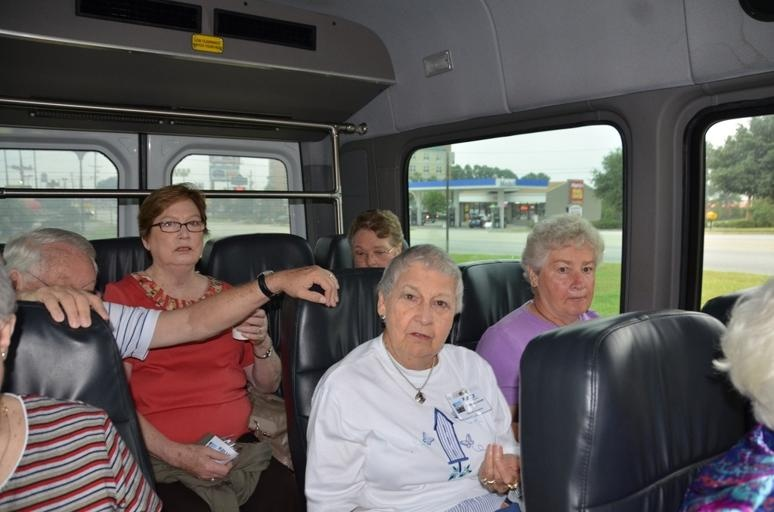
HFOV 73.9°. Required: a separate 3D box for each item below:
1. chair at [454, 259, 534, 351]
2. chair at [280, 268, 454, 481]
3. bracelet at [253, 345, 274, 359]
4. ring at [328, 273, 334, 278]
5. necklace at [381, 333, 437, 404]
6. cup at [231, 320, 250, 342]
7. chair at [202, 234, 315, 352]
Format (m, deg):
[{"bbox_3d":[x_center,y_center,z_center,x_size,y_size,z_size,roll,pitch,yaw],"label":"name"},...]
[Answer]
[{"bbox_3d":[0.666,0.273,3.683,0.613,0.708,0.646,0,20,4],"label":"chair"},{"bbox_3d":[-0.096,0.730,2.606,0.832,1.102,0.934,-6,-2,8],"label":"chair"},{"bbox_3d":[-0.807,0.639,3.410,0.093,0.036,0.097,-21,-3,37],"label":"bracelet"},{"bbox_3d":[-0.311,0.112,2.864,0.010,0.030,0.022,-27,23,-15],"label":"ring"},{"bbox_3d":[0.109,0.564,2.571,0.247,0.325,0.081,0,-9,-5],"label":"necklace"},{"bbox_3d":[-0.910,0.475,3.238,0.116,0.087,0.111,2,-2,0],"label":"cup"},{"bbox_3d":[-1.008,0.332,4.277,0.975,0.931,0.830,-1,-12,-17],"label":"chair"}]
